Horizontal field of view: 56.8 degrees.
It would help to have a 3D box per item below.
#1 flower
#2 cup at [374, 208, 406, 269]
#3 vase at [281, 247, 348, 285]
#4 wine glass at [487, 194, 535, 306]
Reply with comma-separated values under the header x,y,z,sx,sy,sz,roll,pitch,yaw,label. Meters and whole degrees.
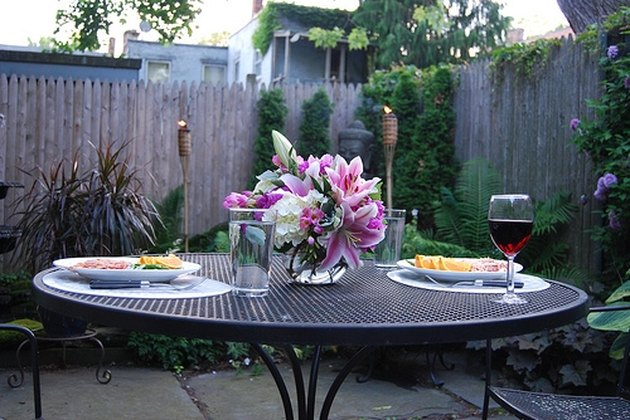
x,y,z,sx,sy,sz,roll,pitch,yaw,label
-0.015,-0.029,3.398,0.780,0.847,0.812,4,8,23,flower
0.490,0.171,3.452,0.223,0.343,0.201,0,-1,29,cup
-0.015,0.294,3.263,0.325,0.196,0.308,2,2,-43,vase
1.063,0.202,3.210,0.180,0.187,0.640,-7,-36,-3,wine glass
